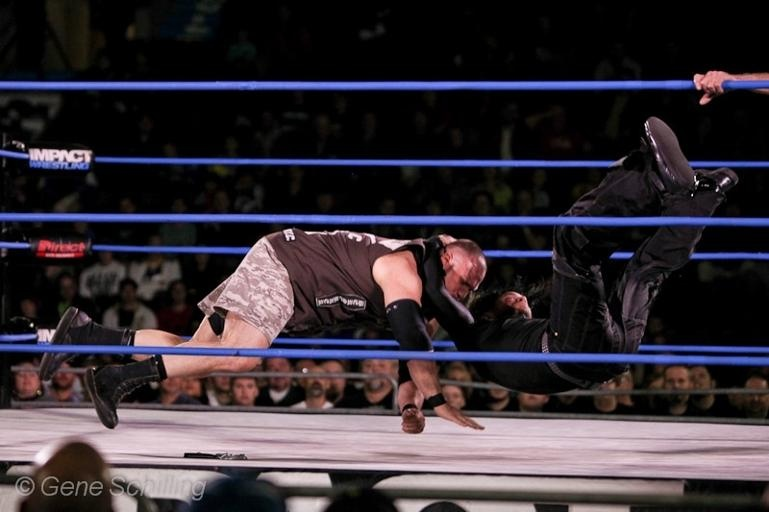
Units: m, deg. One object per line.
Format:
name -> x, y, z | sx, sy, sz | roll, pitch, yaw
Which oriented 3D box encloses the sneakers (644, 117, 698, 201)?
sneakers -> 1.683, -0.592, 6.998 | 0.328, 0.458, 0.128 | -25, 0, -37
